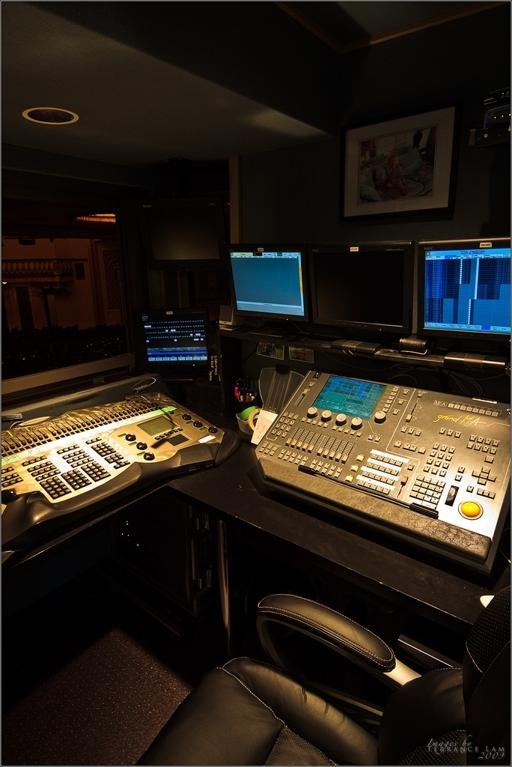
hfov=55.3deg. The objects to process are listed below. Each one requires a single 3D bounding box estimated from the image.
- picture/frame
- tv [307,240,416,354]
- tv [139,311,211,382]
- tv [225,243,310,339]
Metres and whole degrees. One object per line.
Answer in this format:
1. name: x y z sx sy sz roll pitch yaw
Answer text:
1. picture/frame: 0.536 -0.817 1.774 0.021 0.391 0.483 -10 12 -40
2. tv: 0.380 -0.310 1.722 0.065 0.359 0.397 -28 26 -36
3. tv: -0.380 -0.190 2.343 0.277 0.292 0.104 4 23 4
4. tv: 0.058 -0.381 1.982 0.396 0.320 0.043 19 42 38
